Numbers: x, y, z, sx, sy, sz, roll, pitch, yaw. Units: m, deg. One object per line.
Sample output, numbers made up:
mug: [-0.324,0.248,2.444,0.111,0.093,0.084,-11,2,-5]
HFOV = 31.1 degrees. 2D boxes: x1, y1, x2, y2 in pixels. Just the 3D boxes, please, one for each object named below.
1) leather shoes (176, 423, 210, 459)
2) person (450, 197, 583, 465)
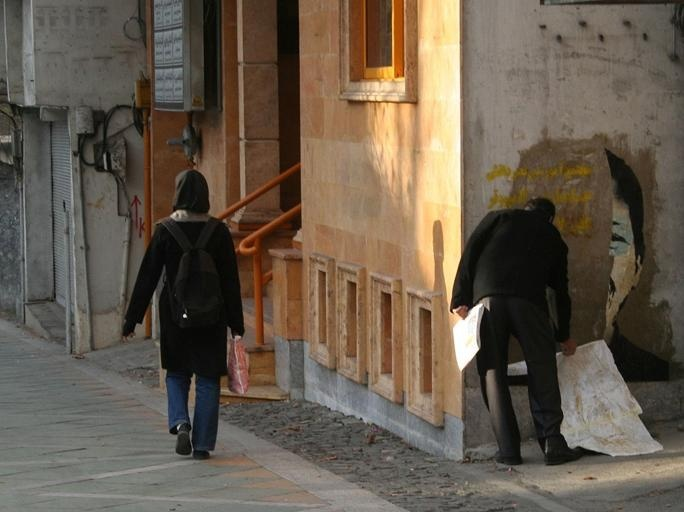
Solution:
leather shoes: [-1.297,1.596,10.724,0.297,0.303,0.181,0,7,-7]
person: [1.471,0.614,10.292,1.052,2.192,0.463,1,7,1]
